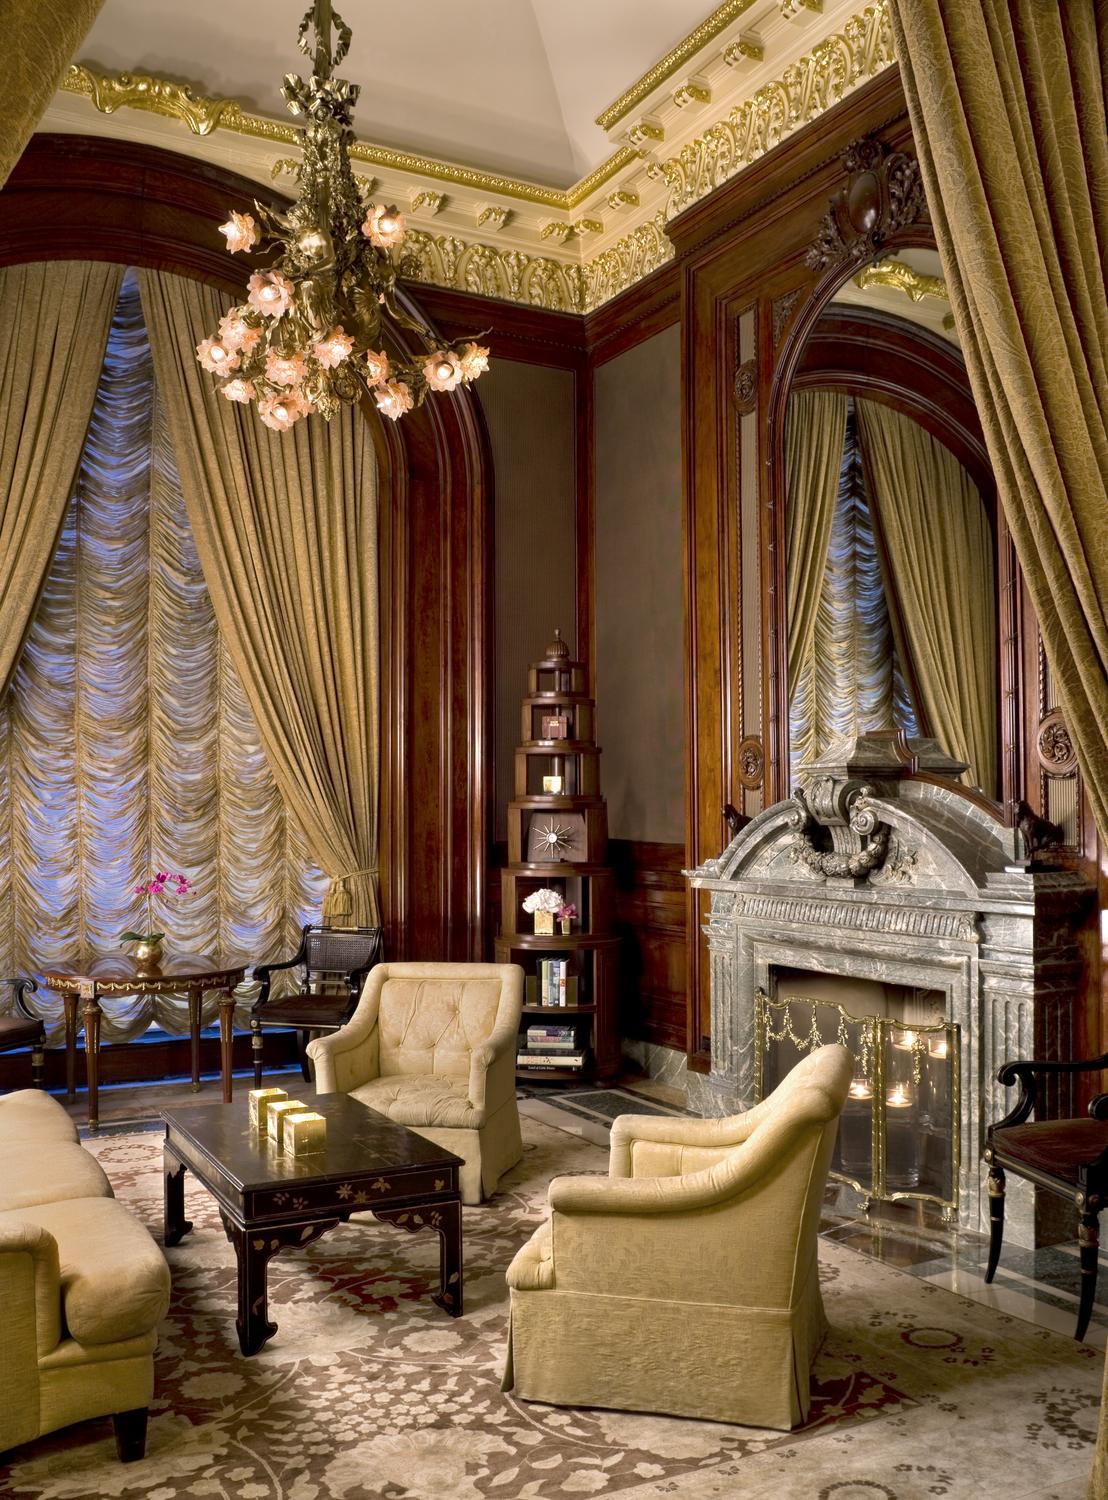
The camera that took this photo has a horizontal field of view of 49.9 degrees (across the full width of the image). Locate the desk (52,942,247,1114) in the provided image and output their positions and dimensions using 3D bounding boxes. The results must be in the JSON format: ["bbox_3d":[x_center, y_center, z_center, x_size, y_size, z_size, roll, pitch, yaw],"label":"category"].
[{"bbox_3d":[-2.201,1.352,6.276,0.935,0.648,0.898,3,-8,-36],"label":"desk"}]

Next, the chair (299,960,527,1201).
[{"bbox_3d":[-0.499,1.346,4.913,0.826,0.863,0.814,-4,-4,29],"label":"chair"}]

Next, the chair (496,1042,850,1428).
[{"bbox_3d":[0.339,1.185,3.087,0.841,0.794,0.676,-2,-3,13],"label":"chair"}]

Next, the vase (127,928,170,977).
[{"bbox_3d":[-2.091,1.050,6.083,0.177,0.201,0.350,2,-6,-20],"label":"vase"}]

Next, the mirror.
[{"bbox_3d":[1.414,-1.195,5.073,0.261,2.858,1.318,1,-5,-16],"label":"mirror"}]
